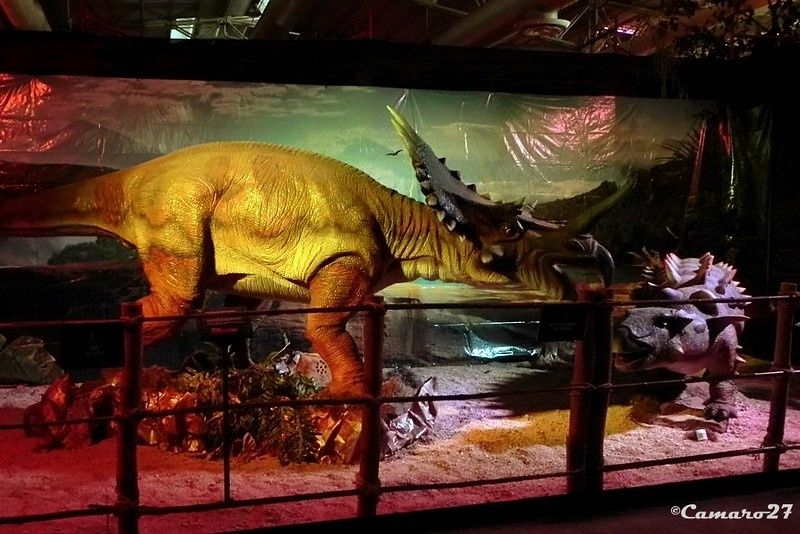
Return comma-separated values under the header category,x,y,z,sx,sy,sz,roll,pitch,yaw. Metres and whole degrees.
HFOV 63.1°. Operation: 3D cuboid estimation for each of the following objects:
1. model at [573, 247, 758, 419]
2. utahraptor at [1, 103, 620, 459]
category,x,y,z,sx,sy,sz,roll,pitch,yaw
model,2.837,0.665,6.761,1.562,1.492,2.541,7,13,39
utahraptor,0.441,-0.033,7.699,8.005,3.039,2.506,7,2,0
